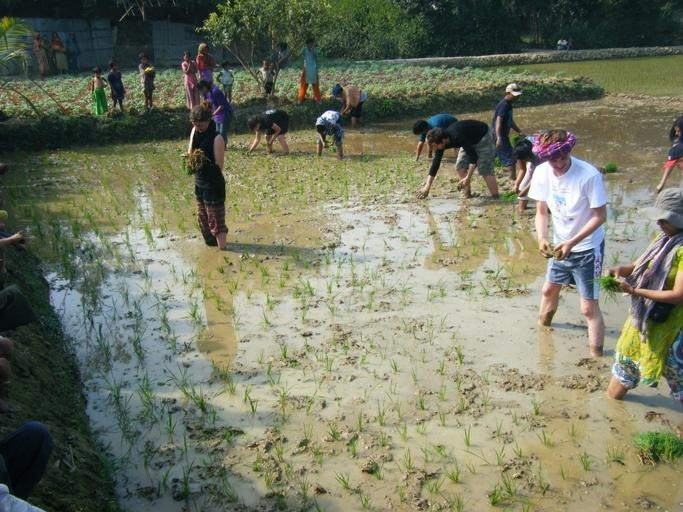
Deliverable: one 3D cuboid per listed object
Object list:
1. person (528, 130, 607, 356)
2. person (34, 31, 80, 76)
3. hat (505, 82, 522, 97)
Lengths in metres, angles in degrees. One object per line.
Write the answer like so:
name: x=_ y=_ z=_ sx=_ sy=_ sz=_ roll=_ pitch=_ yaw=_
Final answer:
person: x=2.854 y=-0.169 z=9.708 sx=1.131 sy=2.840 sz=0.583 roll=13 pitch=22 yaw=33
person: x=-9.875 y=-7.033 z=26.537 sx=0.717 sy=1.426 sz=1.709 roll=11 pitch=22 yaw=29
hat: x=3.164 y=-3.068 z=14.209 sx=0.224 sy=0.291 sz=0.563 roll=4 pitch=20 yaw=9
